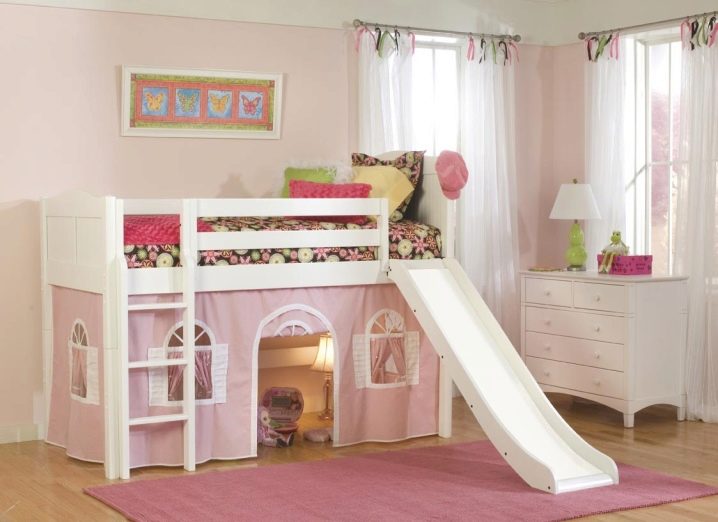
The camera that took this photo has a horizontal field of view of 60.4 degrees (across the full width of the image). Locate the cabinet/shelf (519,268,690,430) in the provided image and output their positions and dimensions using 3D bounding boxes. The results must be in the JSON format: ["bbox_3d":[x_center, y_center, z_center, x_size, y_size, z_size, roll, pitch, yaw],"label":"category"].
[{"bbox_3d":[1.795,0.627,4.618,0.661,0.996,1.044,1,0,-28],"label":"cabinet/shelf"}]

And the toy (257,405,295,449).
[{"bbox_3d":[-0.542,1.040,3.908,0.271,0.272,0.173,-4,-4,35],"label":"toy"}]

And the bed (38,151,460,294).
[{"bbox_3d":[-0.865,-0.187,3.888,1.991,0.625,1.076,-2,7,-4],"label":"bed"}]

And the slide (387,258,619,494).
[{"bbox_3d":[0.669,0.551,3.728,0.620,0.756,1.934,-9,35,-36],"label":"slide"}]

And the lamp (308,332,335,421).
[{"bbox_3d":[-0.291,0.803,4.396,0.148,0.633,0.379,-2,6,-4],"label":"lamp"}]
